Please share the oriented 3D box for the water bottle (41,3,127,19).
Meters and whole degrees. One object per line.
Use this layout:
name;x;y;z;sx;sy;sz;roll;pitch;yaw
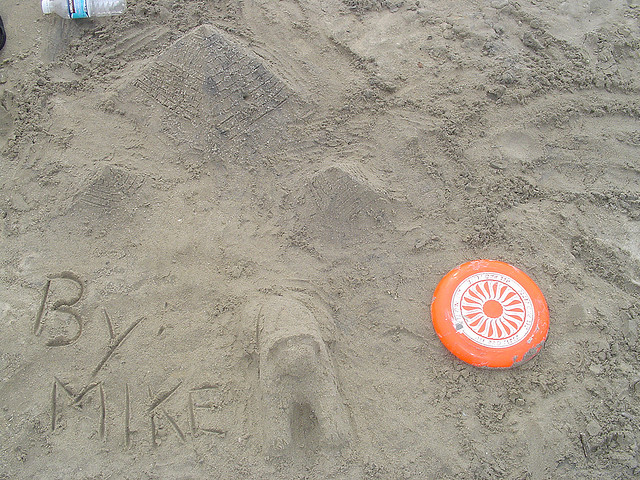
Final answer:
water bottle;-2.954;-2.884;8.285;1.072;0.191;0.169;-2;68;10
